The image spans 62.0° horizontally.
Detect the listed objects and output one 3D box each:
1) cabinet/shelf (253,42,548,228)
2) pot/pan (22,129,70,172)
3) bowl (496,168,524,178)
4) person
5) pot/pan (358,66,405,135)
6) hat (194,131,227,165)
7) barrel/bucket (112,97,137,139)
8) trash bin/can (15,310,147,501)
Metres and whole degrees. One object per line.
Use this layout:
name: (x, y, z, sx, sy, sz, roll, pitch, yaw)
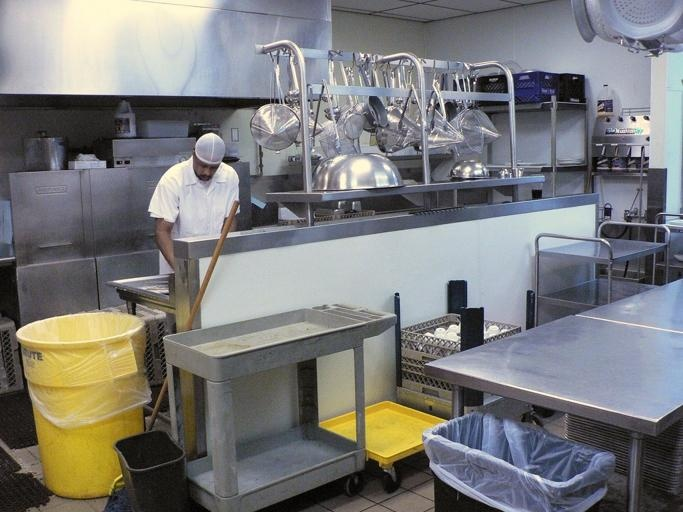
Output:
cabinet/shelf: (0.536, -0.852, 4.093, 1.433, 1.209, 2.851, 1, 13, 17)
pot/pan: (-2.346, -0.797, 4.467, 0.327, 0.250, 0.234, -7, 13, -20)
bowl: (1.211, -0.581, 4.035, 0.161, 0.061, 0.128, -1, 2, -28)
person: (-0.896, -0.317, 3.545, 0.581, 0.853, 0.651, -7, 13, -19)
pot/pan: (0.229, -0.925, 3.389, 0.097, 0.373, 0.224, -6, 5, 35)
hat: (-0.818, -0.649, 3.498, 0.182, 0.193, 0.184, -10, 14, -31)
barrel/bucket: (-1.888, -1.184, 4.925, 0.164, 0.324, 0.227, -6, 13, -16)
trash bin/can: (-1.258, 0.756, 2.915, 0.722, 0.839, 0.490, 3, 14, 25)
